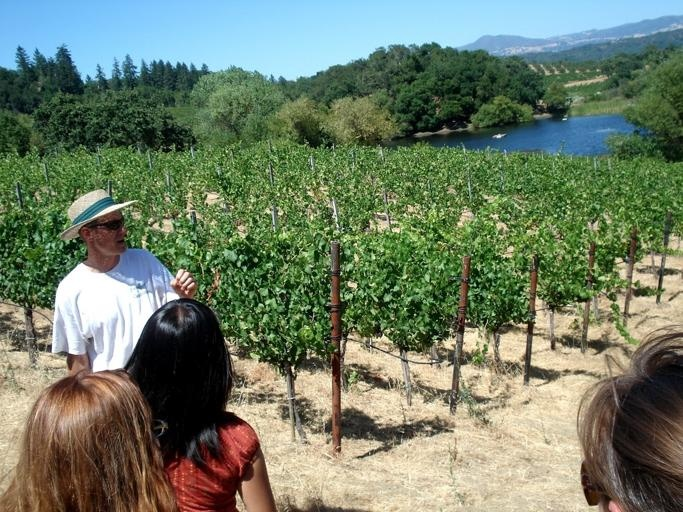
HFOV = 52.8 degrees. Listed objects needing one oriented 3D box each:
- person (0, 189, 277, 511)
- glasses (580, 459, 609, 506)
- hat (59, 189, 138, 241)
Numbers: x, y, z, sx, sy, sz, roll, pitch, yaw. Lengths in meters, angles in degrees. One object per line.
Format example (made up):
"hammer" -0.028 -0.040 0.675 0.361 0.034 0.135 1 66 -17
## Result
"person" -1.242 0.468 4.380 0.770 1.600 2.195 -1 10 -36
"glasses" 1.202 1.103 3.296 0.130 0.201 0.074 3 9 3
"hat" -1.839 -0.376 5.085 0.446 0.212 0.519 -11 7 22
